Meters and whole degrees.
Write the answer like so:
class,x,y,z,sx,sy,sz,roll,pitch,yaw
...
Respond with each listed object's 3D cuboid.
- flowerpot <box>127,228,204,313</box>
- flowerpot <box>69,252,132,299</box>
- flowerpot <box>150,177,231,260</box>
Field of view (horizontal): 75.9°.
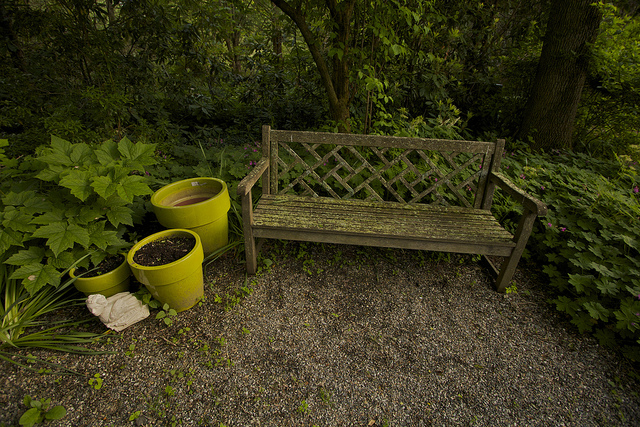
class,x,y,z,sx,sy,sz,roll,pitch,yaw
flowerpot,-1.584,0.643,4.429,0.715,0.693,0.773,-6,28,1
flowerpot,-2.165,0.670,4.084,0.447,0.354,0.464,-3,14,-7
flowerpot,-1.428,-0.041,4.903,0.804,0.805,0.901,-8,23,-6
